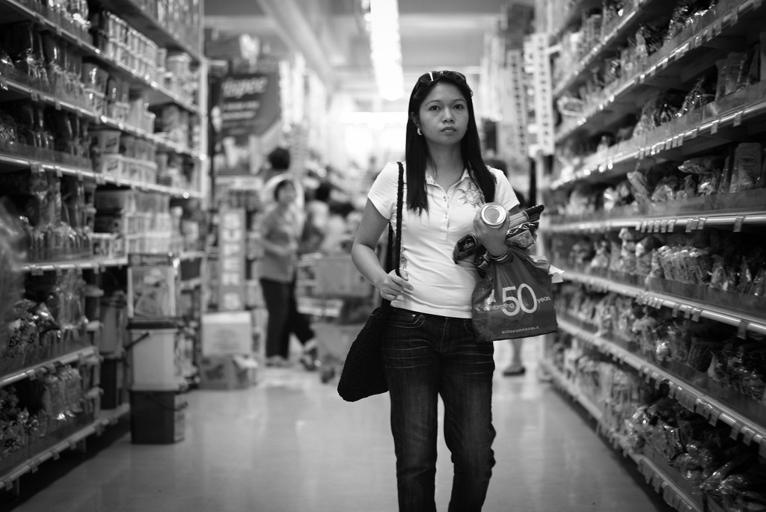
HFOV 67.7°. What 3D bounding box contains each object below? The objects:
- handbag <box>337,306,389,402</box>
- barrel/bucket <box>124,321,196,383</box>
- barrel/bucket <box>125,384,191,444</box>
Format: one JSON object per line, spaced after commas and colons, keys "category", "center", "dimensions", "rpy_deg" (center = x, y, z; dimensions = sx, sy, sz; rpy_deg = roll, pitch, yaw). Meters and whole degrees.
{"category": "handbag", "center": [-0.072, 0.384, 2.266], "dimensions": [0.114, 0.359, 0.257], "rpy_deg": [10, 18, 18]}
{"category": "barrel/bucket", "center": [-1.261, 0.508, 3.161], "dimensions": [0.323, 0.403, 0.341], "rpy_deg": [6, 15, -2]}
{"category": "barrel/bucket", "center": [-1.188, 0.813, 3.056], "dimensions": [0.298, 0.322, 0.270], "rpy_deg": [-1, -9, 0]}
